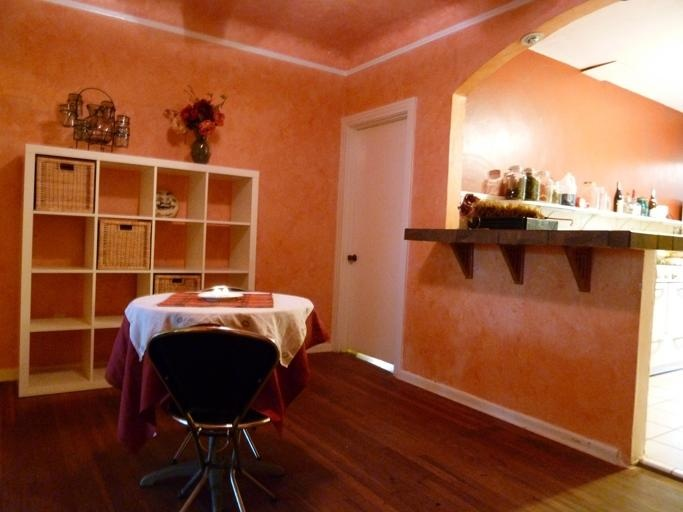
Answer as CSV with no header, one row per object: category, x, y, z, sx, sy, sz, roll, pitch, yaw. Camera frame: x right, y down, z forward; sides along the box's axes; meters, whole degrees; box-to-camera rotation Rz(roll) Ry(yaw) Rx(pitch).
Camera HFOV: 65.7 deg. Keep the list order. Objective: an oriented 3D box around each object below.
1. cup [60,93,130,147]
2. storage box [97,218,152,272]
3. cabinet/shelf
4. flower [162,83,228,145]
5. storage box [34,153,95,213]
cup,-2.023,-1.060,4.410,0.489,0.420,0.492,3,11,-1
storage box,-1.794,-0.086,4.496,0.430,0.418,0.355,3,0,-8
cabinet/shelf,-1.657,0.098,3.997,2.103,2.097,0.532,-1,6,-37
flower,-1.192,-1.261,4.764,0.581,0.441,0.605,-7,-7,-6
storage box,-2.258,-0.567,4.227,0.351,0.409,0.433,14,10,38
